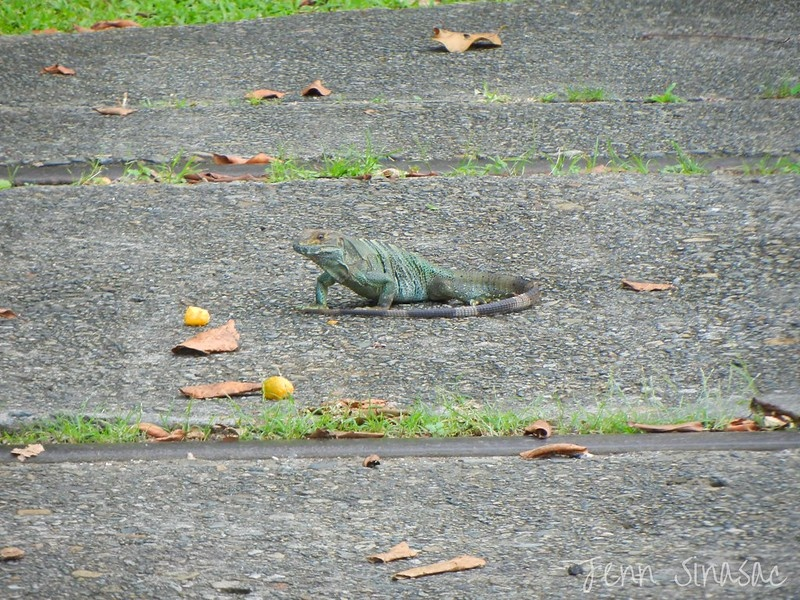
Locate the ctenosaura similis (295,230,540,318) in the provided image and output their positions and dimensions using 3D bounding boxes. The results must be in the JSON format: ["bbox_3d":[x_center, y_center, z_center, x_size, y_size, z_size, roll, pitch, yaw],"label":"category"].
[{"bbox_3d":[0.121,-0.130,6.075,1.459,0.290,0.825,-1,15,-34],"label":"ctenosaura similis"}]
